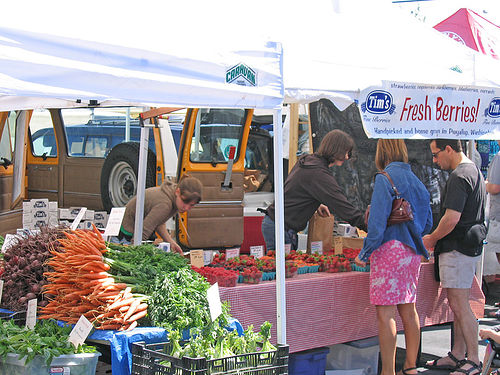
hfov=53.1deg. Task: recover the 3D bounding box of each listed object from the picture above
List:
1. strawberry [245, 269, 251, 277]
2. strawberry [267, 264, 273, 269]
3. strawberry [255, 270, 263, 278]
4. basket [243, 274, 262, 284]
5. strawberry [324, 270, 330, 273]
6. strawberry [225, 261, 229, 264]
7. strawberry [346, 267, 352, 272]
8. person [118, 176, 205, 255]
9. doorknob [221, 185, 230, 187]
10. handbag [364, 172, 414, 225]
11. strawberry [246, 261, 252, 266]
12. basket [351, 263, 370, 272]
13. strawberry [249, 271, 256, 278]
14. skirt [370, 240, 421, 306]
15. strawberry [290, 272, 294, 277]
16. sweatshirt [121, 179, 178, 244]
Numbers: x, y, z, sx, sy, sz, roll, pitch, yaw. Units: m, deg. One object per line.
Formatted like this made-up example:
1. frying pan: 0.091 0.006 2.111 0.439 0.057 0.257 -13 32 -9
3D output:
1. strawberry: -0.020 0.739 4.327 0.040 0.043 0.017 -11 -15 -12
2. strawberry: 0.182 0.717 4.531 0.061 0.022 0.046 3 10 -12
3. strawberry: 0.076 0.754 4.354 0.062 0.050 0.070 0 -5 -2
4. basket: 0.028 0.792 4.332 0.104 0.069 0.101 4 -6 -44
5. strawberry: 0.749 0.812 4.846 0.027 0.012 0.041 0 0 36
6. strawberry: -0.206 0.685 4.549 0.037 0.017 0.032 9 11 18
7. strawberry: 0.959 0.796 4.869 0.039 0.035 0.035 0 -45 27
8. person: -0.907 0.279 4.996 0.598 0.858 0.994 -1 11 -29
9. doorknob: -0.377 -0.027 7.909 0.112 0.025 0.024 0 11 -29
10. handbag: 1.304 0.101 4.501 0.352 0.431 0.212 7 9 12
11. strawberry: -0.008 0.685 4.503 0.054 0.035 0.039 5 10 0
12. basket: 1.078 0.784 4.891 0.100 0.044 0.135 3 2 35
13. strawberry: 0.022 0.758 4.322 0.034 0.044 0.058 14 13 43
14. skirt: 1.332 0.769 4.540 0.461 0.600 0.179 4 9 -4
15. strawberry: 0.380 0.794 4.575 0.028 0.041 0.012 6 -2 4
16. sweatshirt: -1.023 0.249 5.051 0.579 0.677 0.438 5 9 -2
